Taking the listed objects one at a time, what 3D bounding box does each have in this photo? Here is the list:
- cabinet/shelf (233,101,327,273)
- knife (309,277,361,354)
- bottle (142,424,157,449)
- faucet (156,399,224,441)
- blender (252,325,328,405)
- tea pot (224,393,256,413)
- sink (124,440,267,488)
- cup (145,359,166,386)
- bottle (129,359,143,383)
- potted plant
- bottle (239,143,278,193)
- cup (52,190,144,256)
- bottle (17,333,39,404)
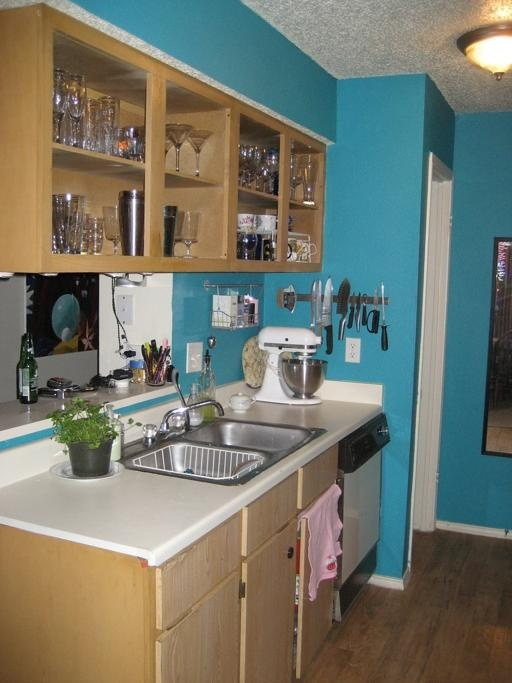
[{"bbox_3d":[0.092,-0.670,2.300,0.227,0.681,0.793,2,5,22],"label":"cabinet/shelf"},{"bbox_3d":[0.462,-0.121,2.790,0.373,0.389,0.121,3,4,8],"label":"knife"},{"bbox_3d":[-0.350,0.303,1.756,0.038,0.064,0.069,2,4,-5],"label":"bottle"},{"bbox_3d":[-0.230,0.267,2.007,0.183,0.115,0.353,3,4,7],"label":"faucet"},{"bbox_3d":[0.147,0.113,2.651,0.316,0.373,0.201,3,6,8],"label":"blender"},{"bbox_3d":[-0.071,0.270,2.411,0.103,0.078,0.161,2,4,-6],"label":"tea pot"},{"bbox_3d":[-0.166,0.396,1.781,0.230,0.089,0.191,4,9,24],"label":"sink"},{"bbox_3d":[-0.378,0.119,2.095,0.072,0.090,0.081,6,10,23],"label":"cup"},{"bbox_3d":[-0.462,0.117,2.092,0.059,0.087,0.031,1,4,-15],"label":"bottle"},{"bbox_3d":[-0.431,0.236,1.471,0.206,0.226,0.181,-2,6,-6],"label":"potted plant"},{"bbox_3d":[0.014,-0.690,2.134,0.122,0.228,0.340,2,4,6],"label":"bottle"},{"bbox_3d":[-0.379,-0.278,1.283,0.099,0.160,0.259,11,16,39],"label":"cup"},{"bbox_3d":[-0.736,0.083,1.744,0.057,0.216,0.158,1,4,-22],"label":"bottle"}]
